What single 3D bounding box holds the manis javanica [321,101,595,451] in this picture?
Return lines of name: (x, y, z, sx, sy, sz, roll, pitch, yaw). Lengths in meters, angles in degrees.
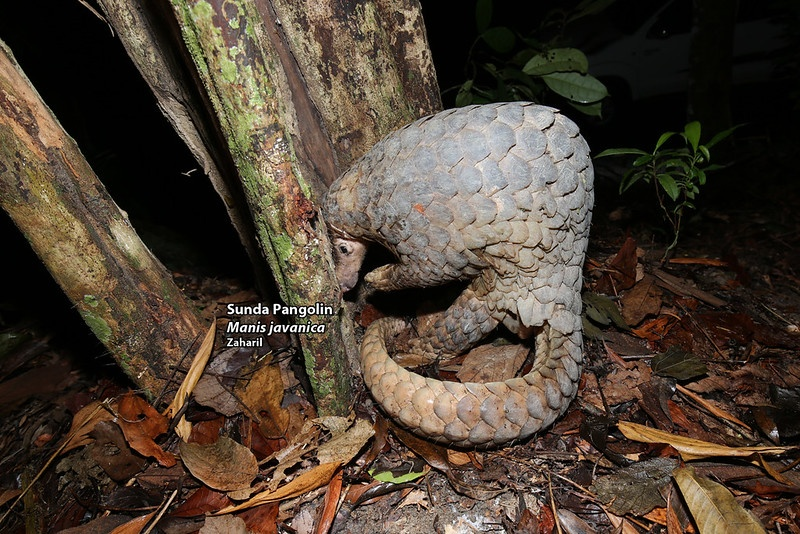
manis javanica: (0.321, -0.067, 3.522, 1.481, 1.497, 1.267, 8, 27, 16)
